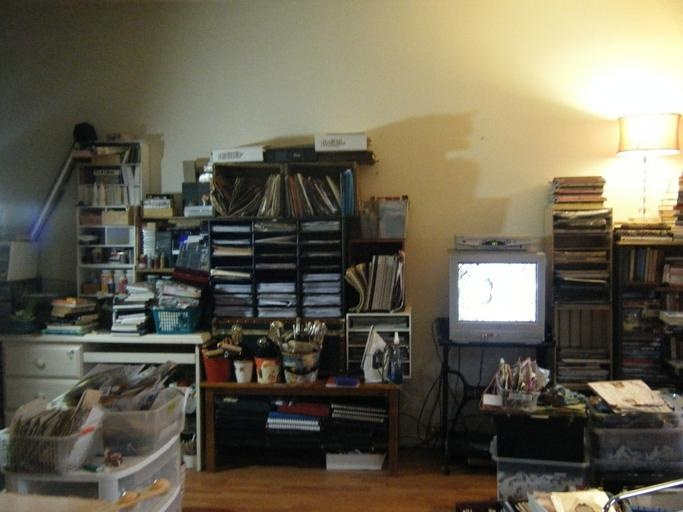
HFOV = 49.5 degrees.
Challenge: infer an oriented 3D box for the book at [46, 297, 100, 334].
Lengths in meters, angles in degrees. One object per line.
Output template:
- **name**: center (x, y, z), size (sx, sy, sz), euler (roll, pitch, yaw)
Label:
- **book**: center (-2.252, 0.441, 6.185), size (0.279, 0.175, 0.379), euler (1, 1, 18)

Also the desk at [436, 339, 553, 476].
- **desk**: center (1.209, 1.177, 5.751), size (0.987, 0.968, 0.452), euler (0, 5, 3)

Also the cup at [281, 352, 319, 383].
- **cup**: center (-0.329, 0.873, 5.895), size (0.257, 0.182, 0.240), euler (-1, -1, 0)

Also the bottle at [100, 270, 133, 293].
- **bottle**: center (-1.955, 0.226, 6.472), size (0.176, 0.176, 0.097), euler (1, 4, 1)

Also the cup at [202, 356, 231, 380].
- **cup**: center (-1.001, 0.903, 5.935), size (0.191, 0.148, 0.195), euler (-1, -2, 0)

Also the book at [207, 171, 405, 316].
- **book**: center (-0.330, -0.072, 6.110), size (1.150, 1.001, 0.384), euler (0, 0, 0)

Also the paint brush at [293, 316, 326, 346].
- **paint brush**: center (-0.252, 0.604, 6.000), size (0.188, 0.112, 0.251), euler (3, 4, 0)

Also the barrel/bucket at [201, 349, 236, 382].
- **barrel/bucket**: center (-1.002, 0.867, 5.937), size (0.245, 0.189, 0.251), euler (0, -5, 0)

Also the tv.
- **tv**: center (1.161, 0.336, 6.176), size (1.054, 1.031, 0.624), euler (0, 2, 6)

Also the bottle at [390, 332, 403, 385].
- **bottle**: center (0.438, 0.810, 5.918), size (0.096, 0.391, 0.113), euler (0, 0, 4)

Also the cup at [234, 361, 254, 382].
- **cup**: center (-0.781, 0.916, 5.929), size (0.161, 0.148, 0.156), euler (-1, -1, 0)

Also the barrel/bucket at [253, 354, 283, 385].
- **barrel/bucket**: center (-0.583, 0.904, 5.982), size (0.205, 0.167, 0.197), euler (-1, -2, 0)

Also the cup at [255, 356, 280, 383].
- **cup**: center (-0.587, 0.910, 5.973), size (0.193, 0.150, 0.183), euler (-1, -2, 0)
